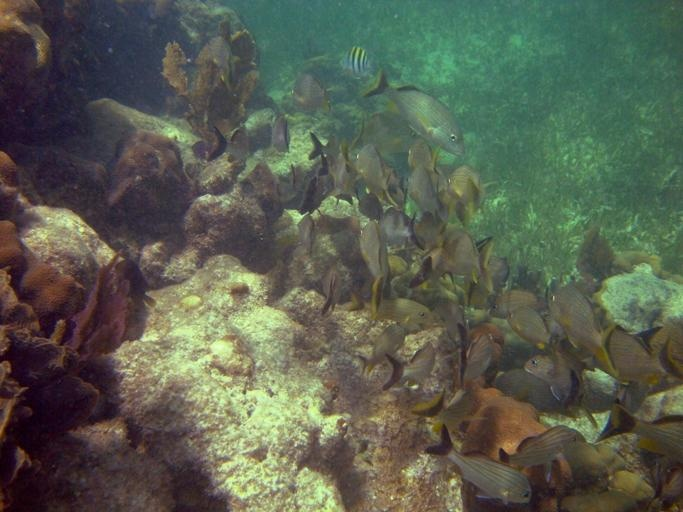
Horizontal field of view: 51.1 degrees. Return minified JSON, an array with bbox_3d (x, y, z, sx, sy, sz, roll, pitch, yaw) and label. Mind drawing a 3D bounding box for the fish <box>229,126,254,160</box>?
[{"bbox_3d":[-1.804,-2.082,13.509,0.504,0.625,0.124,20,14,35],"label":"fish"}]
